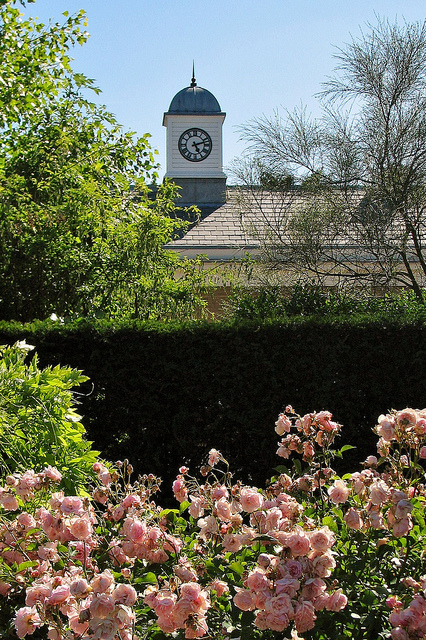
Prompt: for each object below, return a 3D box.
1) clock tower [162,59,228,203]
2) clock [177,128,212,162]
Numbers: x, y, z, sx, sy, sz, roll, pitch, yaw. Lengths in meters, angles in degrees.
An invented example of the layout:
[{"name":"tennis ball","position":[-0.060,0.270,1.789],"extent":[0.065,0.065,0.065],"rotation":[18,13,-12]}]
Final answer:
[{"name":"clock tower","position":[-0.492,-4.545,22.691],"extent":[2.076,3.472,2.129],"rotation":[-3,-5,31]},{"name":"clock","position":[-0.508,-4.413,22.062],"extent":[1.048,0.970,0.073],"rotation":[0,-20,3]}]
